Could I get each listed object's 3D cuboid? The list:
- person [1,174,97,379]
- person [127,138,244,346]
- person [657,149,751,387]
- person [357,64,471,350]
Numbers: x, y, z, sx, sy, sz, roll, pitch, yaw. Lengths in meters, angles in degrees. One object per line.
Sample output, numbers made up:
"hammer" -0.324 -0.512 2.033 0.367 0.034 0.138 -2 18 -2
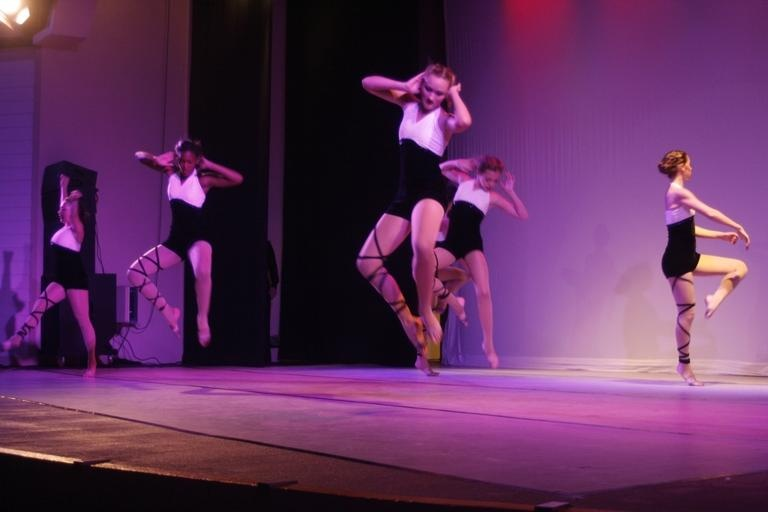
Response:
"person" -3.059 0.145 6.555 0.752 1.476 1.398 2 -1 -23
"person" -1.742 -0.120 6.153 0.794 1.221 0.528 1 -1 15
"person" 2.656 0.035 5.936 0.649 2.112 1.343 1 -1 27
"person" 0.179 -0.351 4.737 0.706 1.828 0.295 1 -1 -3
